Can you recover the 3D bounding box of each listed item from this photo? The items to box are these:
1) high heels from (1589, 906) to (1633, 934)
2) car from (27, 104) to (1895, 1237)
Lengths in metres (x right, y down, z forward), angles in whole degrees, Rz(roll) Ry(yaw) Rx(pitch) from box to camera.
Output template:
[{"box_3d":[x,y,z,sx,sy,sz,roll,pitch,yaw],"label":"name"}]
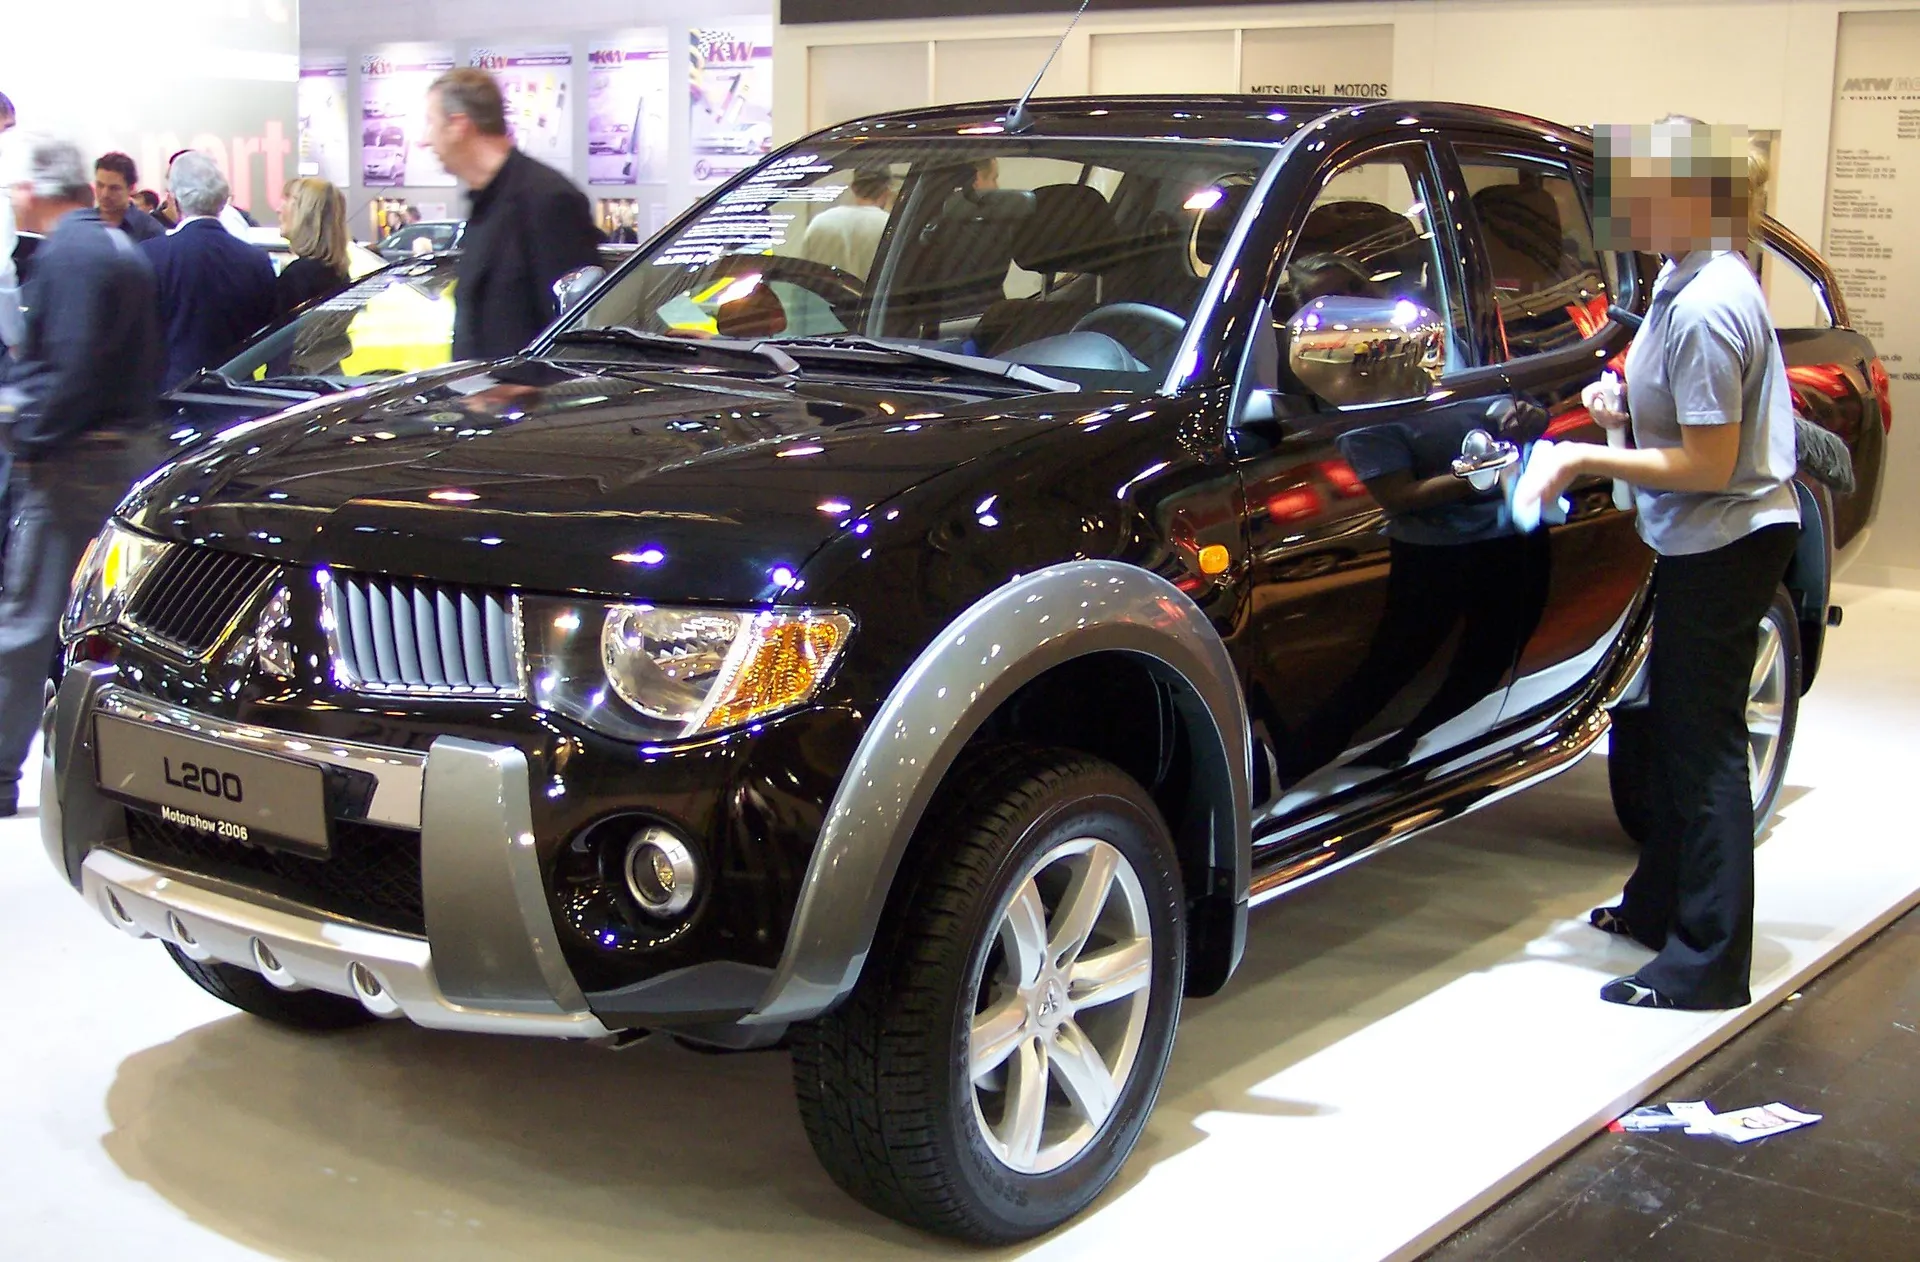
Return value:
[{"box_3d":[1.815,0.805,3.580,0.035,0.042,0.108,-33,1,3],"label":"high heels"},{"box_3d":[0.372,-0.234,3.332,2.210,1.640,4.145,7,9,44],"label":"car"}]
